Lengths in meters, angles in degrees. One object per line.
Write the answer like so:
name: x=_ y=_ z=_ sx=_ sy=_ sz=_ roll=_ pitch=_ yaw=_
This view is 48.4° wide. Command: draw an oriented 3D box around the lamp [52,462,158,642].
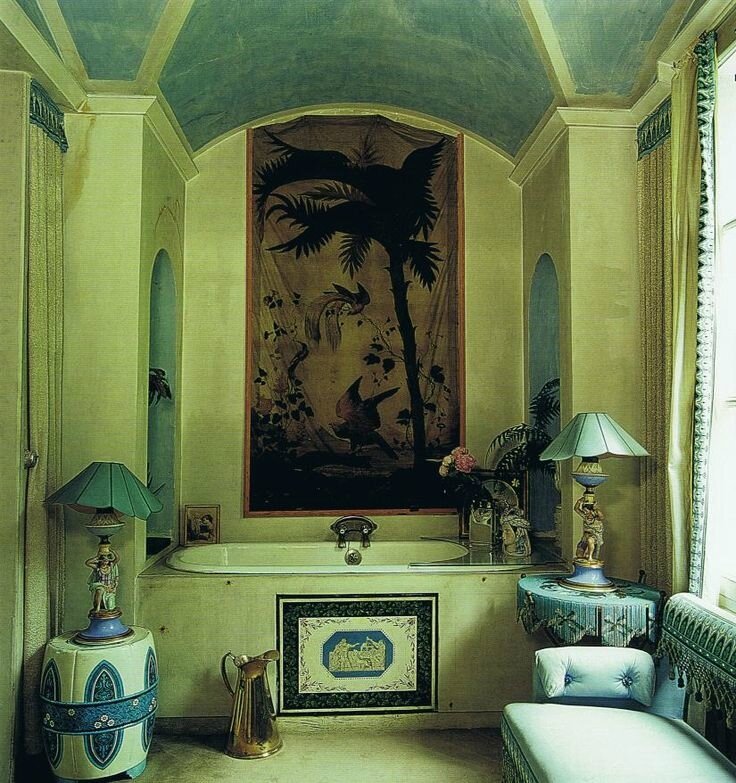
lamp: x=-1.064 y=0.632 z=3.341 sx=0.422 sy=0.700 sz=0.443 roll=-1 pitch=-6 yaw=-20
